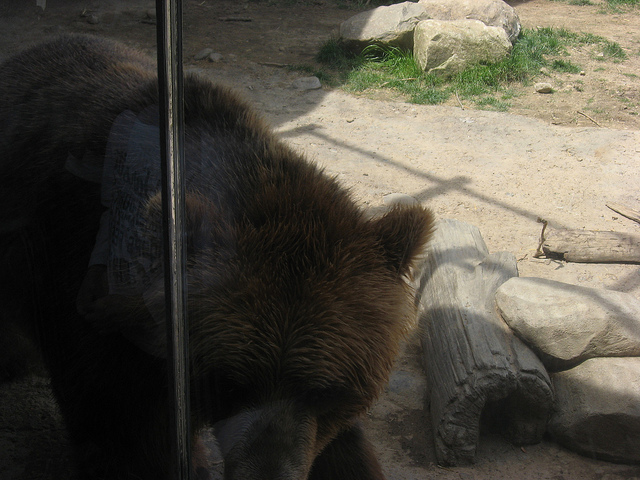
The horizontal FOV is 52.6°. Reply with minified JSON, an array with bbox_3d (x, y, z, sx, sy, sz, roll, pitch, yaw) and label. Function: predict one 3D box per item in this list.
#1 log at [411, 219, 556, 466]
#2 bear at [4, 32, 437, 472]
[{"bbox_3d":[0.664,0.461,2.710,0.339,0.335,0.953,-2,22,-1],"label":"log"},{"bbox_3d":[-0.574,-0.025,2.154,0.806,0.906,1.544,-4,21,-41],"label":"bear"}]
